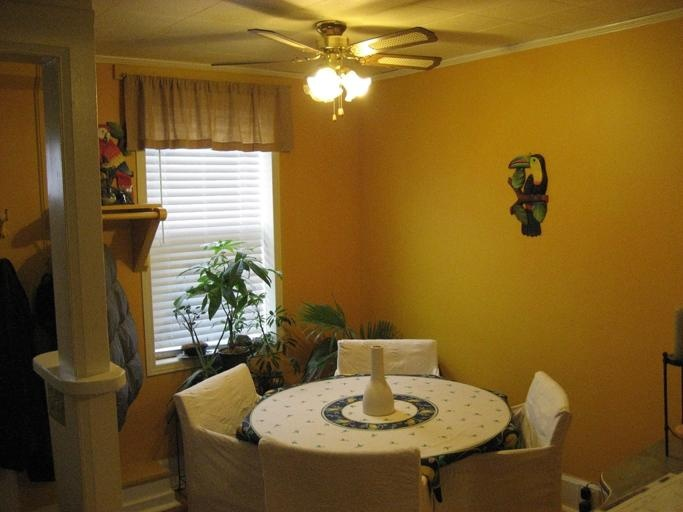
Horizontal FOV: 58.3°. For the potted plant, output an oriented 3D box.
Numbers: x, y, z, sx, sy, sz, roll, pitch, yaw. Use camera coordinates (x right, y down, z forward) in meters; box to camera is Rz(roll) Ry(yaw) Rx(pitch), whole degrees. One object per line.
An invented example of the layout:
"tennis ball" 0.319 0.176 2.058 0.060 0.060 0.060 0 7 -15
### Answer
"potted plant" -0.780 0.452 4.561 0.685 0.823 0.732 10 4 32
